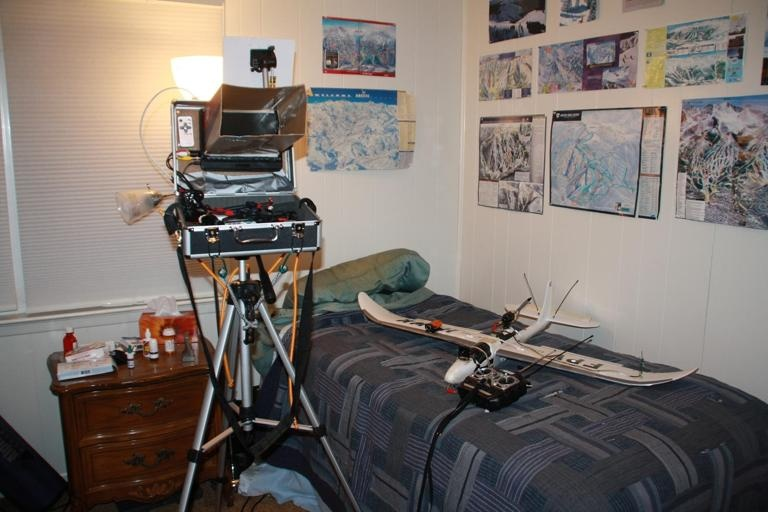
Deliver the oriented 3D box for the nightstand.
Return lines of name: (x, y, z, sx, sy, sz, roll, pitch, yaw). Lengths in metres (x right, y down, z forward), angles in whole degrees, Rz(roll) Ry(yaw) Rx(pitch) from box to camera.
nightstand: (-1.287, 0.819, 3.303, 1.074, 0.962, 0.767, -5, 11, -23)

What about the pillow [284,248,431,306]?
pillow: (-0.137, 0.079, 3.573, 0.674, 0.210, 0.428, -21, 13, -12)
